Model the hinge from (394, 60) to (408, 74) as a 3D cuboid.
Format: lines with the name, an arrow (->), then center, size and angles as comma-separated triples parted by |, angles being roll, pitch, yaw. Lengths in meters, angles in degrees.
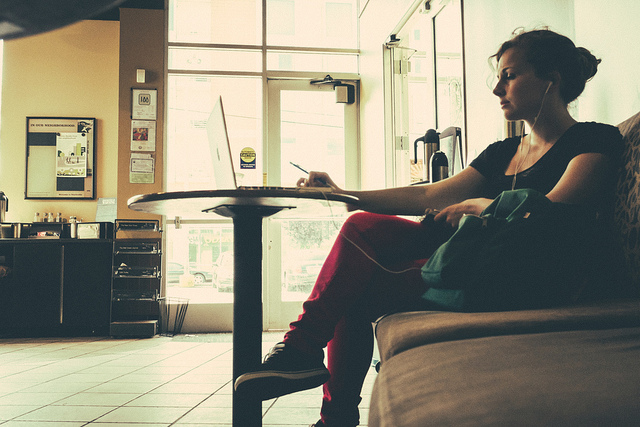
hinge -> 0.746, -1.350, 6.412 | 0.120, 0.127, 0.017 | -1, 6, -6

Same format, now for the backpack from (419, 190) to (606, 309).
backpack -> 0.948, 0.204, 3.431 | 0.786, 0.327, 0.583 | -5, 10, 14

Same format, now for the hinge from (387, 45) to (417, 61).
hinge -> 0.735, -1.470, 6.392 | 0.153, 0.140, 0.041 | 13, 16, 24

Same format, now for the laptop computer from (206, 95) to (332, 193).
laptop computer -> -0.302, -0.343, 4.027 | 0.652, 0.366, 0.600 | 3, -5, -15

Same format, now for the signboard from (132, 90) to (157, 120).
signboard -> -1.744, -1.063, 6.846 | 0.325, 0.368, 0.050 | 0, -7, -7
